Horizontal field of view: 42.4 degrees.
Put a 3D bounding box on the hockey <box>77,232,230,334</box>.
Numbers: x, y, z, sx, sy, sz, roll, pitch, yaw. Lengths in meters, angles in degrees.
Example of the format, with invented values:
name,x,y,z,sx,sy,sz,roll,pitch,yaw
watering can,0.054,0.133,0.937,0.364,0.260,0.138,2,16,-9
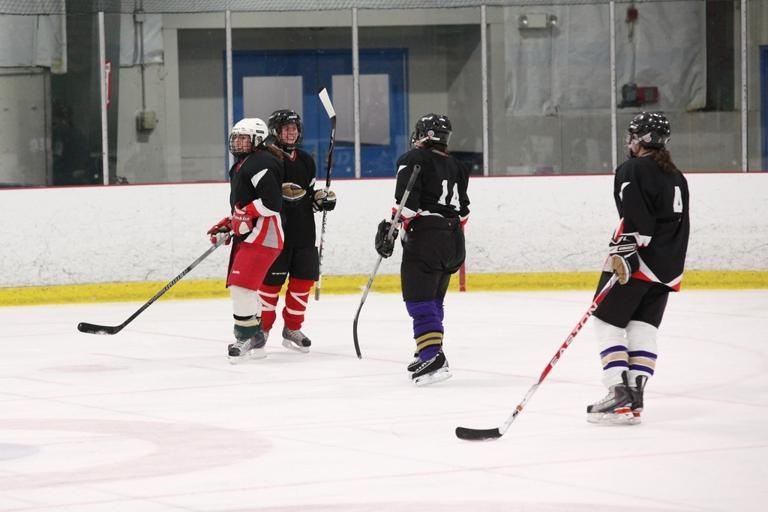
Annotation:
name,x,y,z,sx,sy,sz,roll,pitch,yaw
hockey,-1.779,0.210,8.048,0.055,0.232,1.660,-13,21,47

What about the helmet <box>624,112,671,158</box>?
name,x,y,z,sx,sy,sz,roll,pitch,yaw
helmet,1.696,-0.764,6.353,0.280,0.318,0.339,-3,9,-30

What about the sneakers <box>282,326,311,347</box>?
name,x,y,z,sx,sy,sz,roll,pitch,yaw
sneakers,-0.691,0.638,7.790,0.104,0.115,0.298,-3,2,-40

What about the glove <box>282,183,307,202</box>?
name,x,y,z,sx,sy,sz,roll,pitch,yaw
glove,-0.687,-0.484,7.591,0.159,0.065,0.114,3,45,-19

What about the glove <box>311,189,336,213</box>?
name,x,y,z,sx,sy,sz,roll,pitch,yaw
glove,-0.472,-0.437,7.946,0.184,0.161,0.153,1,1,8

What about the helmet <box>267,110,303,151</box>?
name,x,y,z,sx,sy,sz,roll,pitch,yaw
helmet,-0.762,-0.974,7.744,0.263,0.306,0.324,-5,9,-37

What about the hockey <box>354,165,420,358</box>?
name,x,y,z,sx,sy,sz,roll,pitch,yaw
hockey,-0.030,0.044,7.188,0.359,1.620,0.081,14,36,-9

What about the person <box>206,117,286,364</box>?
name,x,y,z,sx,sy,sz,roll,pitch,yaw
person,-1.010,-0.140,7.448,0.546,1.716,0.503,-3,11,-12

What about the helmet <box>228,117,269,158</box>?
name,x,y,z,sx,sy,sz,roll,pitch,yaw
helmet,-1.024,-0.882,7.493,0.297,0.263,0.251,1,-2,-37

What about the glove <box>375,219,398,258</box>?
name,x,y,z,sx,sy,sz,roll,pitch,yaw
glove,0.033,-0.116,7.030,0.119,0.242,0.181,14,20,-32

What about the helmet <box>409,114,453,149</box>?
name,x,y,z,sx,sy,sz,roll,pitch,yaw
helmet,0.340,-0.872,6.936,0.211,0.254,0.272,-4,26,-21

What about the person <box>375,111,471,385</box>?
name,x,y,z,sx,sy,sz,roll,pitch,yaw
person,0.315,-0.060,6.799,0.467,1.750,0.599,1,11,11

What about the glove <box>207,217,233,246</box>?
name,x,y,z,sx,sy,sz,roll,pitch,yaw
glove,-1.248,-0.182,7.599,0.225,0.096,0.226,-35,7,6

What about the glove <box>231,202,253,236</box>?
name,x,y,z,sx,sy,sz,roll,pitch,yaw
glove,-1.056,-0.247,7.311,0.201,0.220,0.071,8,14,38
